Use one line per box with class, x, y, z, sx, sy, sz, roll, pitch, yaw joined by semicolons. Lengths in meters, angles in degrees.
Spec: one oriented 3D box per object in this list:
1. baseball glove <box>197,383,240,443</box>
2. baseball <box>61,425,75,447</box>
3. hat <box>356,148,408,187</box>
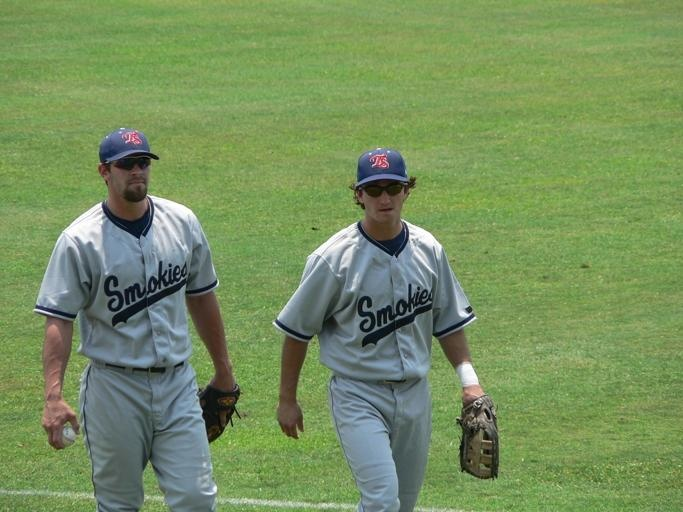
baseball glove;-1.342;1.626;17.603;0.531;0.348;0.717;-21;15;-1
baseball;-2.910;1.908;16.812;0.160;0.194;0.189;0;-10;-27
hat;0.440;-0.954;17.074;0.575;0.410;0.260;-1;8;1
